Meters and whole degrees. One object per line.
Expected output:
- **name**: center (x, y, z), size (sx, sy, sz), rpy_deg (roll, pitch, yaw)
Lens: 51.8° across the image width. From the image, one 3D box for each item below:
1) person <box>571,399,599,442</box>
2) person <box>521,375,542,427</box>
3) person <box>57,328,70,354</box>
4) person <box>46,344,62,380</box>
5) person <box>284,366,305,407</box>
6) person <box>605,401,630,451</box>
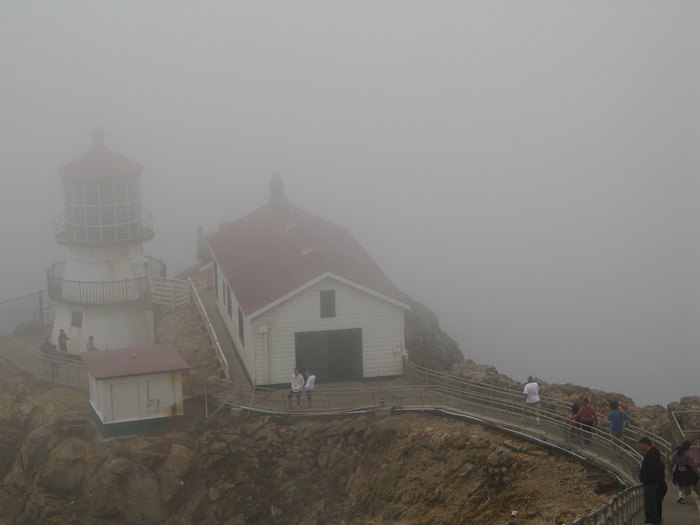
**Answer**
- **person**: center (7.601, 5.082, 23.329), size (0.743, 1.362, 1.233), rpy_deg (-1, 1, 20)
- **person**: center (6.403, 4.740, 25.163), size (0.532, 1.586, 1.348), rpy_deg (-1, 1, 14)
- **person**: center (-13.814, 3.772, 34.748), size (0.568, 1.150, 0.359), rpy_deg (-1, 1, 36)
- **person**: center (-14.144, 4.643, 34.359), size (0.612, 1.055, 1.944), rpy_deg (-2, 1, -24)
- **person**: center (-1.995, 4.708, 27.223), size (0.641, 1.414, 0.828), rpy_deg (-1, 1, -4)
- **person**: center (8.415, 5.081, 22.582), size (0.549, 1.701, 0.424), rpy_deg (-8, 20, 7)
